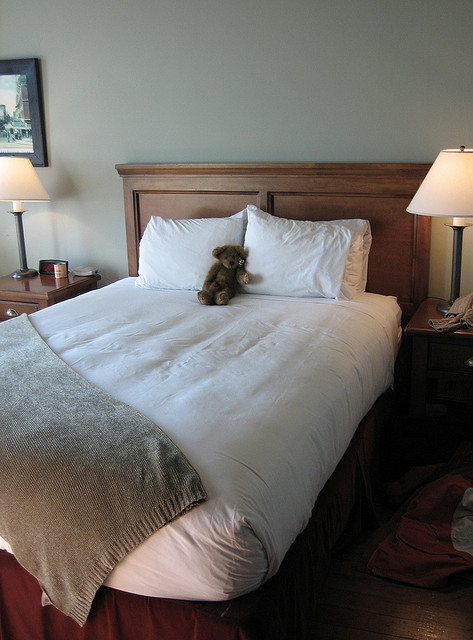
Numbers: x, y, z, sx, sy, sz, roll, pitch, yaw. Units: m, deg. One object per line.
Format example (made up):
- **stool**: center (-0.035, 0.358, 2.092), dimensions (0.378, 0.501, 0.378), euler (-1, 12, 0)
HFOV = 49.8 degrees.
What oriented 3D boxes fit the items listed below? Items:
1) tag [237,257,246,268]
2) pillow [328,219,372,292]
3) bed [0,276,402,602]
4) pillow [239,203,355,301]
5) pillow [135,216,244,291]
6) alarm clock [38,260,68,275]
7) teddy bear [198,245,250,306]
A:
- **tag**: center (0.026, -0.282, 2.484), dimensions (0.034, 0.041, 0.014), euler (4, -5, -24)
- **pillow**: center (0.543, -0.302, 2.498), dimensions (0.301, 0.307, 0.093), euler (5, -2, -27)
- **bed**: center (-0.177, 0.244, 1.479), dimensions (0.908, 0.209, 0.894), euler (6, 15, 27)
- **pillow**: center (0.286, -0.303, 2.401), dimensions (0.489, 0.359, 0.167), euler (7, -22, 28)
- **pillow**: center (-0.257, -0.343, 2.688), dimensions (0.629, 0.409, 0.213), euler (2, 22, 20)
- **alarm clock**: center (-1.202, -0.348, 3.327), dimensions (0.155, 0.076, 0.306), euler (-5, 13, -19)
- **teddy bear**: center (-0.050, -0.211, 2.413), dimensions (0.223, 0.279, 0.233), euler (13, 16, 12)
